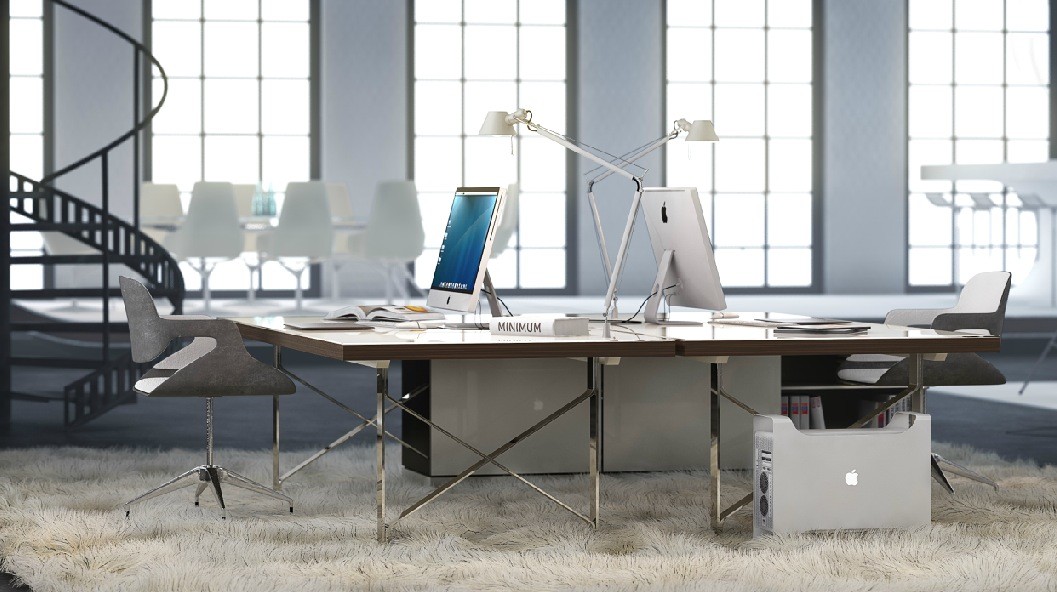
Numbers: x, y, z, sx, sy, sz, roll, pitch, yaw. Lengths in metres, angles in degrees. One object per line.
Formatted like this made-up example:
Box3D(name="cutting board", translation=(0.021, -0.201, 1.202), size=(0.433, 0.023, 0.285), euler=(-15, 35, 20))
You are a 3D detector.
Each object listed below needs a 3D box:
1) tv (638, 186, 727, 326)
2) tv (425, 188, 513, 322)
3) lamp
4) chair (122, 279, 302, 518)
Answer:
Box3D(name="tv", translation=(0.912, -0.271, 8.165), size=(0.624, 0.827, 0.220), euler=(2, 2, 43))
Box3D(name="tv", translation=(-0.383, -0.297, 7.992), size=(0.229, 0.749, 0.505), euler=(-1, 2, -38))
Box3D(name="lamp", translation=(0.819, -0.540, 8.829), size=(1.977, 1.570, 1.407), euler=(0, -3, -13))
Box3D(name="chair", translation=(-2.050, 0.626, 8.729), size=(1.405, 1.749, 1.446), euler=(1, -2, -15))
